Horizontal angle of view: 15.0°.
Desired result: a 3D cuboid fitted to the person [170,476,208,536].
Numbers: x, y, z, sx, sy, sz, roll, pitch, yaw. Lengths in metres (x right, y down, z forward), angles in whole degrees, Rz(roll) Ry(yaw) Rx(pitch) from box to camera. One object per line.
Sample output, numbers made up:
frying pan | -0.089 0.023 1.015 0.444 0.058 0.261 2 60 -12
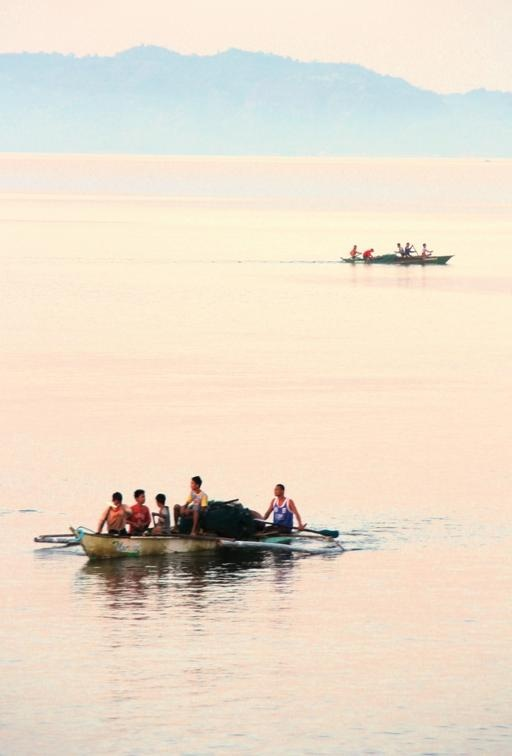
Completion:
person | -1.114 2.191 33.087 0.537 1.029 0.582 9 -9 -29

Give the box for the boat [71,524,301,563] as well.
boat | -1.397 2.802 32.327 3.476 0.695 0.836 2 0 -33

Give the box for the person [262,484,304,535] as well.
person | 0.473 2.336 33.791 0.782 1.067 0.697 -2 -4 26

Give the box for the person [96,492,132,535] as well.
person | -2.453 2.268 32.506 0.565 0.884 0.647 11 -4 5
